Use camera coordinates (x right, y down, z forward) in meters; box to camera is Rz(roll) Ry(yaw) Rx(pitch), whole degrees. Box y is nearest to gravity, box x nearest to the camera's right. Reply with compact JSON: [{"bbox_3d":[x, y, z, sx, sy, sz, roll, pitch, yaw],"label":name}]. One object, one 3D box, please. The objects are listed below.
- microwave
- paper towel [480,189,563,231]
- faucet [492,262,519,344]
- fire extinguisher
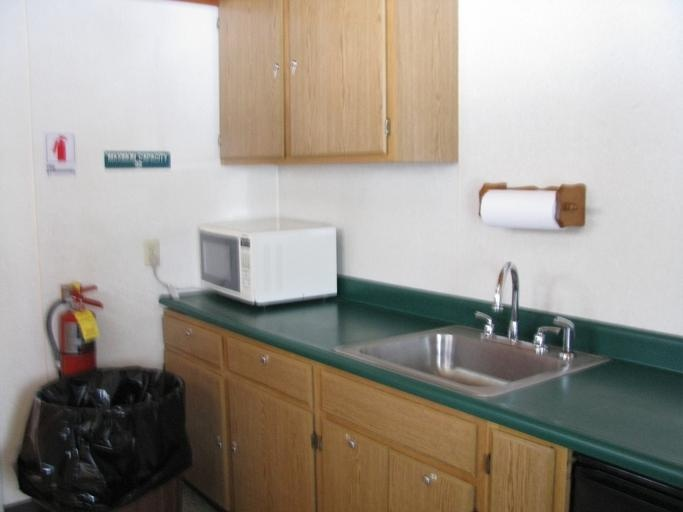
[{"bbox_3d":[-0.398,0.032,2.863,0.738,0.354,0.409,-1,10,5],"label":"microwave"},{"bbox_3d":[0.642,-0.173,2.039,0.276,0.143,0.136,4,-27,37],"label":"paper towel"},{"bbox_3d":[0.622,0.168,2.138,0.096,0.325,0.327,2,10,17],"label":"faucet"},{"bbox_3d":[-1.289,0.351,2.759,0.195,0.547,0.189,-1,10,-43],"label":"fire extinguisher"}]
